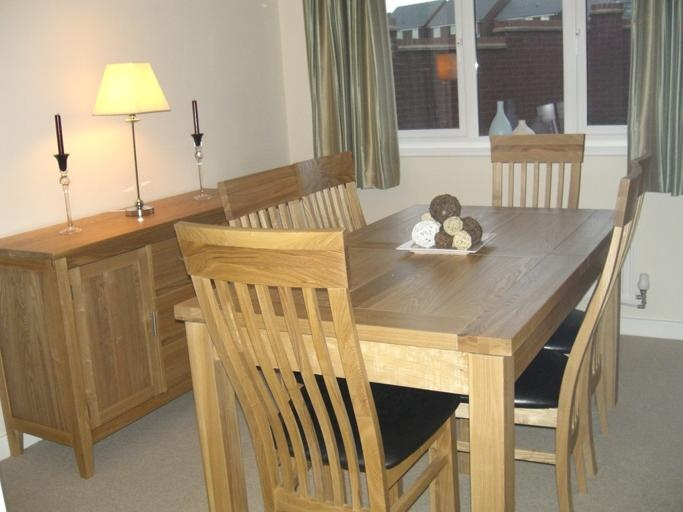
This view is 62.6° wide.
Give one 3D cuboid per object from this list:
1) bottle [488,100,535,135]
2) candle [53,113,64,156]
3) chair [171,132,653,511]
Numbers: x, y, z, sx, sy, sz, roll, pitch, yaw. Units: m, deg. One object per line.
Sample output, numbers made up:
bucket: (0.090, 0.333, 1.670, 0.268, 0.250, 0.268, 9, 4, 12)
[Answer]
bottle: (1.153, -0.943, 3.805, 0.259, 0.220, 0.212, -8, 15, -15)
candle: (-1.363, -0.590, 2.702, 0.049, 0.192, 0.364, -11, 16, -25)
chair: (0.500, 0.279, 2.242, 1.149, 1.237, 1.881, 5, 17, 32)
